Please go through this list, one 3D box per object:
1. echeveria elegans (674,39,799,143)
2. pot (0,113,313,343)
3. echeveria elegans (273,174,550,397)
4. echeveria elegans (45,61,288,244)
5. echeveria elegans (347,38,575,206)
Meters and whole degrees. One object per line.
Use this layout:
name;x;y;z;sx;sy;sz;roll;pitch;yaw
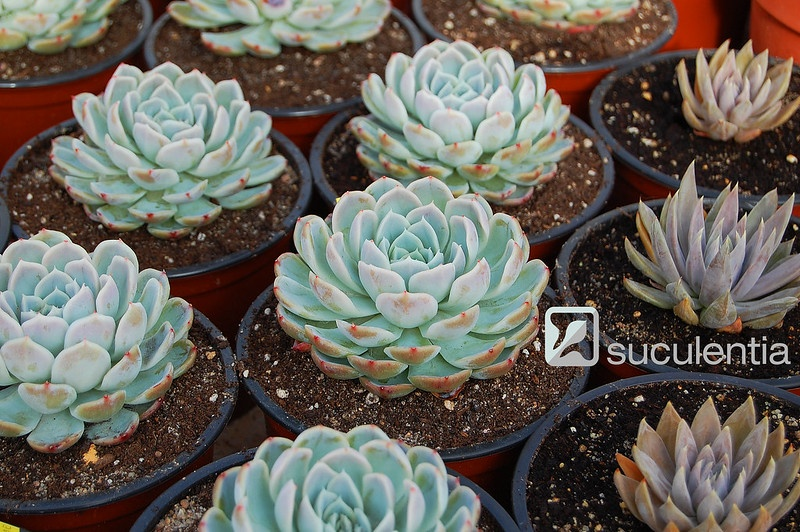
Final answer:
echeveria elegans;1.226;-0.620;2.968;0.350;0.204;0.420;16;57;15
pot;-0.660;-0.211;2.692;0.798;0.645;0.881;0;47;-2
echeveria elegans;0.009;0.068;2.513;0.829;0.456;0.885;15;28;37
echeveria elegans;-0.833;-0.372;2.871;0.728;0.735;0.371;19;105;40
echeveria elegans;0.223;-0.505;2.979;0.783;0.824;0.349;11;82;18
